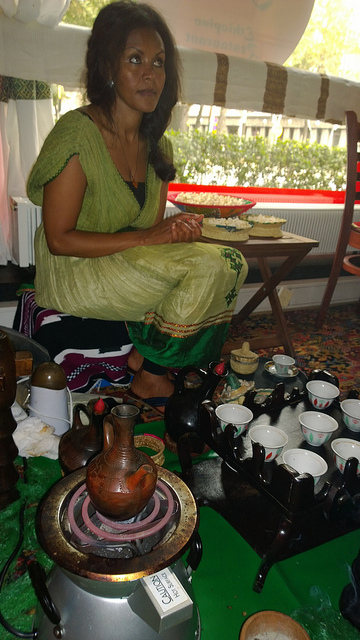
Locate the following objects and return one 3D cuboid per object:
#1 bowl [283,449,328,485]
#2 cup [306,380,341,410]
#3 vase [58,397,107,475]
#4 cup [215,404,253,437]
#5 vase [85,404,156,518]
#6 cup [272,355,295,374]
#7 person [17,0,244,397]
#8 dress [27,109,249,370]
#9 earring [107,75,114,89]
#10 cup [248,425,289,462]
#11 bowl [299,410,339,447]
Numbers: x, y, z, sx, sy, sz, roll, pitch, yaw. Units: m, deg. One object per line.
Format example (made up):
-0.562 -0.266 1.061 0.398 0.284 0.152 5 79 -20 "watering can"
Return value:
0.297 0.338 0.986 0.063 0.049 0.067 5 15 -1 "bowl"
0.444 0.223 1.314 0.078 0.053 0.083 1 16 0 "cup"
-0.262 0.272 1.039 0.095 0.145 0.098 15 0 4 "vase"
0.147 0.254 1.139 0.073 0.056 0.075 2 10 0 "cup"
-0.072 0.181 0.548 0.090 0.148 0.076 5 16 -11 "vase"
0.450 0.174 1.841 0.076 0.060 0.078 5 15 -1 "cup"
-0.153 -0.368 1.610 0.801 1.352 0.408 2 16 -21 "person"
-0.144 -0.237 1.746 0.770 1.107 0.666 7 24 14 "dress"
-0.229 -0.782 1.409 0.017 0.059 0.017 -23 49 -24 "earring"
0.220 0.290 1.059 0.072 0.048 0.074 6 14 -1 "cup"
0.370 0.283 1.133 0.080 0.059 0.084 10 18 -3 "bowl"
